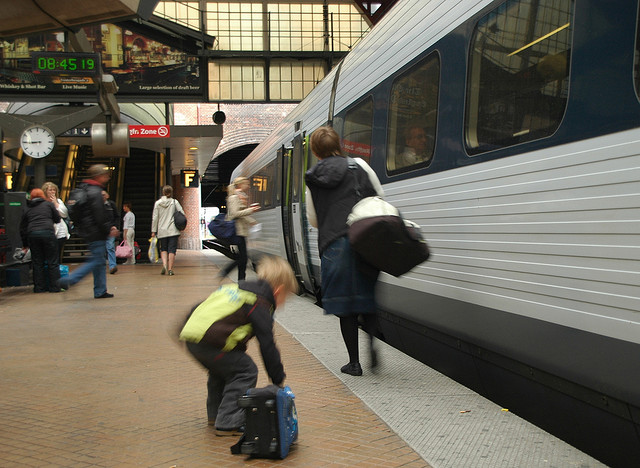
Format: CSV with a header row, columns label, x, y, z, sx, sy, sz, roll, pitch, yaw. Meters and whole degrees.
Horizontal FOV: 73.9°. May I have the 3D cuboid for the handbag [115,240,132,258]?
label,x,y,z,sx,sy,sz,roll,pitch,yaw
handbag,-7.241,0.552,15.697,0.817,0.687,0.307,0,0,30

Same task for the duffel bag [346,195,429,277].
label,x,y,z,sx,sy,sz,roll,pitch,yaw
duffel bag,0.478,0.011,3.380,0.607,0.586,0.525,6,4,-13

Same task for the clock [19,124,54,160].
label,x,y,z,sx,sy,sz,roll,pitch,yaw
clock,-8.675,-2.886,13.053,1.156,1.004,0.159,-8,4,-2

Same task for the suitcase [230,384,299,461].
label,x,y,z,sx,sy,sz,roll,pitch,yaw
suitcase,-0.315,1.063,2.428,0.314,0.420,0.259,-1,7,9

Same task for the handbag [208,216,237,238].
label,x,y,z,sx,sy,sz,roll,pitch,yaw
handbag,-1.964,-0.141,8.632,0.537,0.456,0.366,0,-9,0
